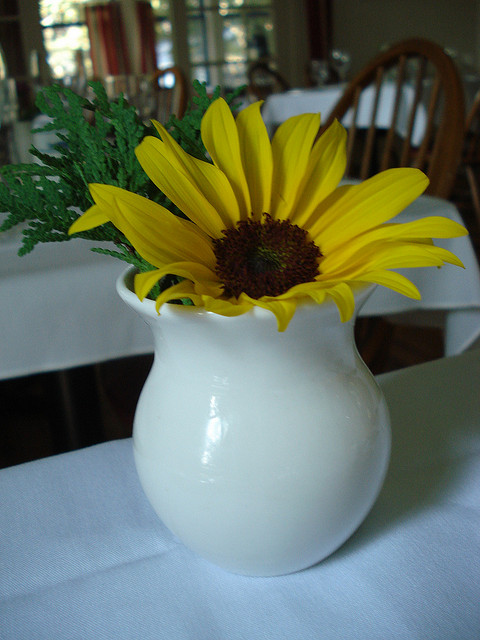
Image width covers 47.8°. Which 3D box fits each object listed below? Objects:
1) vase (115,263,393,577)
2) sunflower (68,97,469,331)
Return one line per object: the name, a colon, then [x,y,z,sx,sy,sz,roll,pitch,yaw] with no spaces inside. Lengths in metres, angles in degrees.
vase: [0.008,0.043,0.259,0.116,0.129,0.108,3,13,27]
sunflower: [0.008,-0.044,0.266,0.138,0.110,0.146,-15,25,-23]
